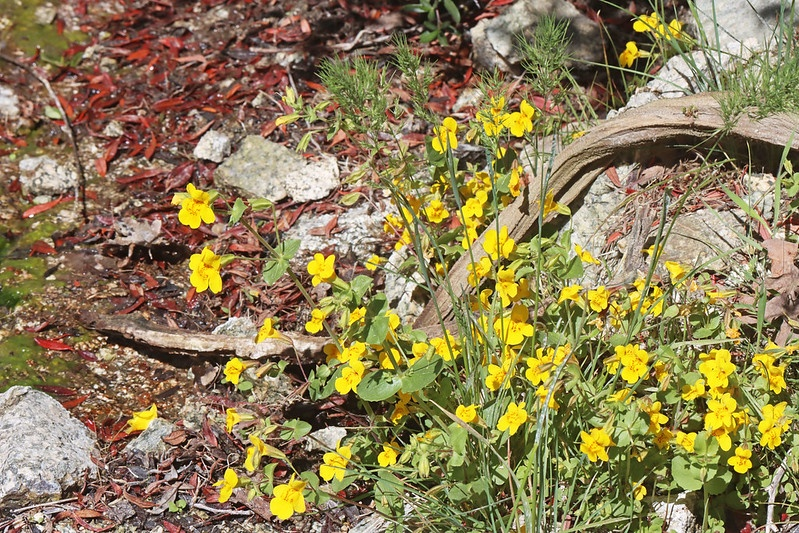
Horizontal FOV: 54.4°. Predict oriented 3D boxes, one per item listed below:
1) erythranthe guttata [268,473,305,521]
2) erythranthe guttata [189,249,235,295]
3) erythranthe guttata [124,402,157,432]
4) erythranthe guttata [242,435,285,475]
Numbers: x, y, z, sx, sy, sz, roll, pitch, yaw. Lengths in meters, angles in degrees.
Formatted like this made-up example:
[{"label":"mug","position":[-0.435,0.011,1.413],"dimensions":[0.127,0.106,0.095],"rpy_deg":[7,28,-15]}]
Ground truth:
[{"label":"erythranthe guttata","position":[-0.527,1.102,3.717],"dimensions":[0.182,0.083,0.211],"rpy_deg":[17,42,19]},{"label":"erythranthe guttata","position":[-0.916,0.024,3.774],"dimensions":[0.110,0.258,0.242],"rpy_deg":[-37,66,38]},{"label":"erythranthe guttata","position":[-1.426,0.839,4.291],"dimensions":[0.190,0.071,0.142],"rpy_deg":[-45,44,19]},{"label":"erythranthe guttata","position":[-0.670,0.920,3.833],"dimensions":[0.161,0.275,0.168],"rpy_deg":[-179,99,-68]}]
